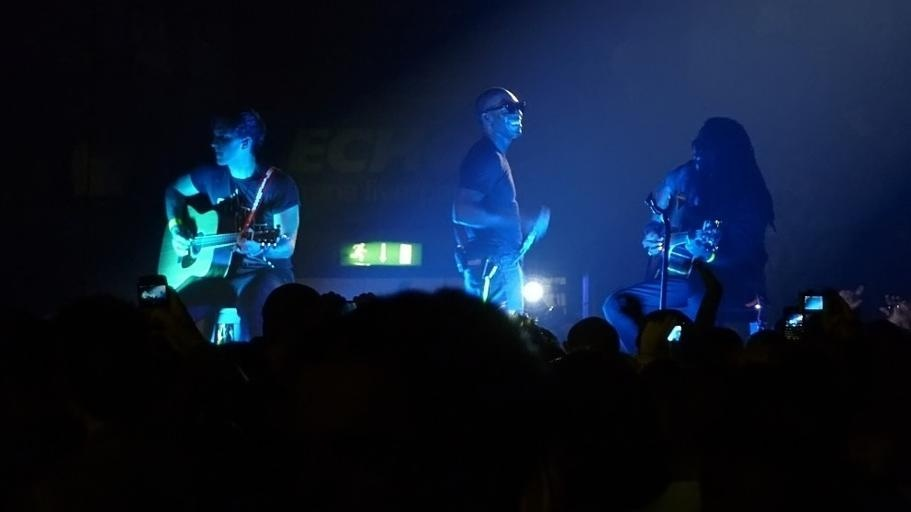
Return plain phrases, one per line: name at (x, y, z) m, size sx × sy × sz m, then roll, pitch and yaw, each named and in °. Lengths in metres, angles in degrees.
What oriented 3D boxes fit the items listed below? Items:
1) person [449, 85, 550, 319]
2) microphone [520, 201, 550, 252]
person at (0.475, -0.658, 9.692) m, size 0.999 × 2.489 × 1.011 m, roll 3°, pitch 14°, yaw 4°
microphone at (1.008, -0.403, 10.019) m, size 0.233 × 0.234 × 0.810 m, roll 15°, pitch 37°, yaw 14°
